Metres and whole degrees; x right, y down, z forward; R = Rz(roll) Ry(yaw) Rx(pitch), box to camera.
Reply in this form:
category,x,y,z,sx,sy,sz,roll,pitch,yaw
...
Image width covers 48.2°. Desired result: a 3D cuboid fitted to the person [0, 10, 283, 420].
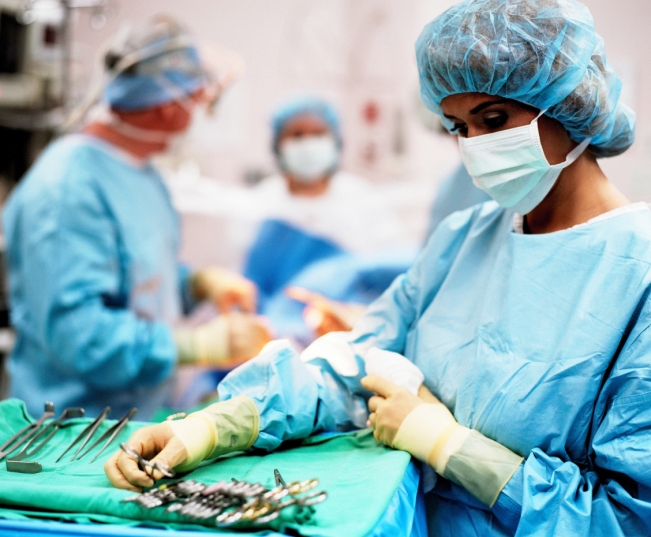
category,x,y,z,sx,sy,sz,roll,pitch,yaw
person,-0.544,-0.356,2.868,1.041,1.665,0.997,-1,26,-9

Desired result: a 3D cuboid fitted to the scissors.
category,x,y,z,sx,sy,sz,roll,pitch,yaw
scissors,-0.204,0.471,1.536,0.255,0.049,0.173,5,5,6

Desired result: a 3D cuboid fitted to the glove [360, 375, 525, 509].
category,x,y,z,sx,sy,sz,roll,pitch,yaw
glove,0.282,0.423,1.794,0.337,0.130,0.213,18,47,33

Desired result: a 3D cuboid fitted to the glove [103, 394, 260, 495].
category,x,y,z,sx,sy,sz,roll,pitch,yaw
glove,-0.325,0.404,1.734,0.280,0.108,0.159,-18,14,-12

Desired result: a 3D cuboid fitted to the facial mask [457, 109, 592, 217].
category,x,y,z,sx,sy,sz,roll,pitch,yaw
facial mask,0.507,-0.256,1.928,0.275,0.178,0.236,-39,15,-9
